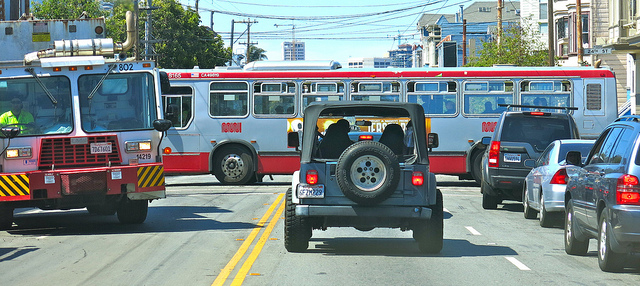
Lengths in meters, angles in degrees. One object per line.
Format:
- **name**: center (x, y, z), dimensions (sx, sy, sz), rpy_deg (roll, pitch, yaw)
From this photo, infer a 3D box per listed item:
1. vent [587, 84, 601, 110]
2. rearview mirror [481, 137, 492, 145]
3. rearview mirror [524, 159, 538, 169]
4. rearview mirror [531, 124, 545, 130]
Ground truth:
- **vent**: center (13.662, -2.313, 35.321), dimensions (0.672, 1.208, 0.498), rpy_deg (2, 16, 11)
- **rearview mirror**: center (7.176, -0.104, 30.587), dimensions (0.458, 0.296, 0.057), rpy_deg (-1, 2, 1)
- **rearview mirror**: center (8.337, 0.812, 28.132), dimensions (0.447, 0.181, 0.395), rpy_deg (2, 7, -4)
- **rearview mirror**: center (9.131, -0.667, 29.726), dimensions (0.506, 0.181, 0.079), rpy_deg (-2, 16, -6)
